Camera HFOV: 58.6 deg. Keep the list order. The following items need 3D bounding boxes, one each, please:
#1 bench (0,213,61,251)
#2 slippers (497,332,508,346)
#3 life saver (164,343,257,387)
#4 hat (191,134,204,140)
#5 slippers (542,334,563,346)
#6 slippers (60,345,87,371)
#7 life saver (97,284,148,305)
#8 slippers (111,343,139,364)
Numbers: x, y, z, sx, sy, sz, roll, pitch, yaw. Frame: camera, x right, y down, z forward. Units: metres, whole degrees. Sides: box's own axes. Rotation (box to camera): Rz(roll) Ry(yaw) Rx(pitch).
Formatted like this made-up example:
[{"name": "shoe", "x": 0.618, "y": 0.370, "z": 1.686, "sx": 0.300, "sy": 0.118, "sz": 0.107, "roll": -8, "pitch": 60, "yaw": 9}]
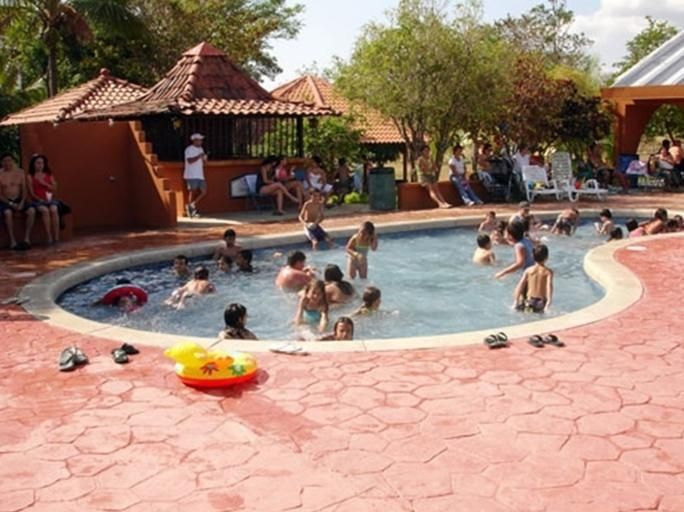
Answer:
[{"name": "bench", "x": -6.145, "y": -0.569, "z": 12.060, "sx": 1.144, "sy": 0.635, "sz": 0.778, "roll": -1, "pitch": 14, "yaw": -12}, {"name": "slippers", "x": 1.721, "y": 0.888, "z": 6.484, "sx": 0.094, "sy": 0.043, "sz": 0.128, "roll": 1, "pitch": 29, "yaw": 0}, {"name": "life saver", "x": -1.191, "y": 1.006, "z": 5.655, "sx": 0.591, "sy": 0.235, "sz": 0.478, "roll": 0, "pitch": 5, "yaw": -1}, {"name": "hat", "x": -3.904, "y": -3.183, "z": 16.209, "sx": 0.372, "sy": 0.143, "sz": 0.261, "roll": 6, "pitch": 18, "yaw": 37}, {"name": "slippers", "x": 2.247, "y": 0.901, "z": 6.486, "sx": 0.105, "sy": 0.052, "sz": 0.156, "roll": -1, "pitch": 13, "yaw": -13}, {"name": "slippers", "x": -2.689, "y": 1.023, "z": 6.046, "sx": 0.275, "sy": 0.127, "sz": 0.301, "roll": 6, "pitch": 15, "yaw": 29}, {"name": "life saver", "x": -3.253, "y": 0.584, "z": 9.066, "sx": 0.656, "sy": 0.349, "sz": 0.283, "roll": -6, "pitch": 14, "yaw": -18}, {"name": "slippers", "x": -2.206, "y": 0.989, "z": 6.239, "sx": 0.278, "sy": 0.089, "sz": 0.363, "roll": -9, "pitch": 16, "yaw": -30}]
